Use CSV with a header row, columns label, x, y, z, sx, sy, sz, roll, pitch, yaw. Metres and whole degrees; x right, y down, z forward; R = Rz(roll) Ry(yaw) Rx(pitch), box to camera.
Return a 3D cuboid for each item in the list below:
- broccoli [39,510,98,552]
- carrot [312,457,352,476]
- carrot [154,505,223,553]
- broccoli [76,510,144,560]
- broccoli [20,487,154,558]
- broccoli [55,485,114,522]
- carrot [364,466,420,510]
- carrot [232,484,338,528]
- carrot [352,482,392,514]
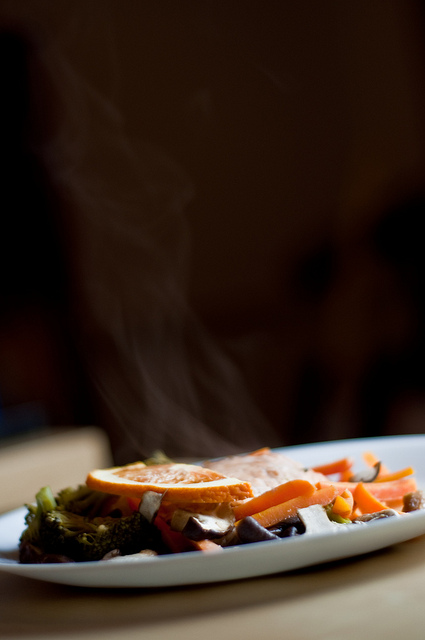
label,x,y,z,sx,sy,sz,roll,pitch,yaw
broccoli,-0.147,0.212,0.627,0.048,0.022,0.038,-2,1,-26
carrot,0.192,0.235,0.978,0.048,0.011,0.012,-10,-41,3
carrot,-0.022,0.211,0.595,0.049,0.014,0.045,42,-26,-13
broccoli,-0.098,0.204,0.600,0.048,0.017,0.046,-9,-6,-13
broccoli,-0.131,0.210,0.643,0.087,0.053,0.107,-4,1,-27
broccoli,-0.155,0.210,0.725,0.043,0.013,0.043,17,-3,32
carrot,0.246,0.229,0.851,0.059,0.016,0.056,-9,17,-20
carrot,0.084,0.185,0.609,0.091,0.030,0.051,-14,-28,3
carrot,0.180,0.207,0.715,0.026,0.040,0.043,-12,-28,-2
